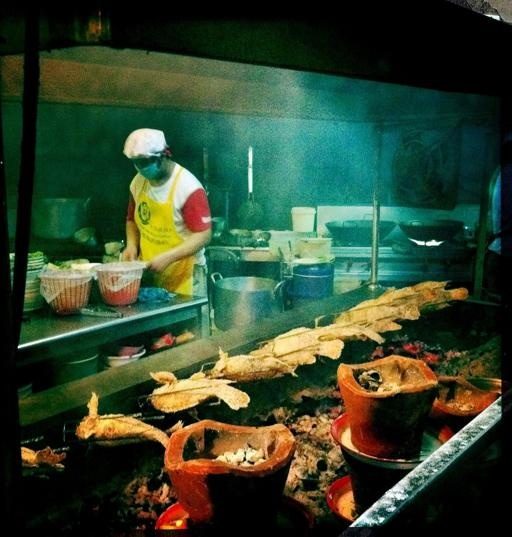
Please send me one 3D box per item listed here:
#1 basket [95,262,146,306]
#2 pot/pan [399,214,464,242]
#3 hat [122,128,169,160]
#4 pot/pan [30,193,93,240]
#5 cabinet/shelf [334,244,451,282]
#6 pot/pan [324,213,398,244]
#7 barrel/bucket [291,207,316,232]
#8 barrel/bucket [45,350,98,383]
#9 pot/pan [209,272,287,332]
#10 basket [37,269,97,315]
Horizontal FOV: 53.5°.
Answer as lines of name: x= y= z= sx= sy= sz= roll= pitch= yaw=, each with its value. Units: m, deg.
basket: x=-0.471 y=0.056 z=1.761 sx=0.174 sy=0.128 sz=0.173 roll=2 pitch=5 yaw=27
pot/pan: x=0.768 y=-0.165 z=2.177 sx=0.285 sy=0.104 sz=0.120 roll=-3 pitch=8 yaw=-18
hat: x=-0.456 y=-0.520 z=2.128 sx=0.203 sy=0.135 sz=0.104 roll=-4 pitch=8 yaw=-28
pot/pan: x=-0.758 y=-0.205 z=1.981 sx=0.193 sy=0.173 sz=0.243 roll=8 pitch=14 yaw=-2
cabinet/shelf: x=0.568 y=-0.021 z=2.104 sx=0.374 sy=0.142 sz=0.434 roll=4 pitch=9 yaw=35
pot/pan: x=0.444 y=-0.144 z=2.114 sx=0.141 sy=0.130 sz=0.522 roll=4 pitch=9 yaw=32
barrel/bucket: x=0.187 y=-0.191 z=2.025 sx=0.097 sy=0.089 sz=0.097 roll=-3 pitch=11 yaw=1
barrel/bucket: x=-0.514 y=0.279 z=1.456 sx=0.091 sy=0.096 sz=0.093 roll=1 pitch=2 yaw=0
pot/pan: x=-0.066 y=0.117 z=1.840 sx=0.285 sy=0.178 sz=0.220 roll=8 pitch=15 yaw=19
basket: x=-0.587 y=0.068 z=1.565 sx=0.137 sy=0.103 sz=0.139 roll=1 pitch=2 yaw=-11
